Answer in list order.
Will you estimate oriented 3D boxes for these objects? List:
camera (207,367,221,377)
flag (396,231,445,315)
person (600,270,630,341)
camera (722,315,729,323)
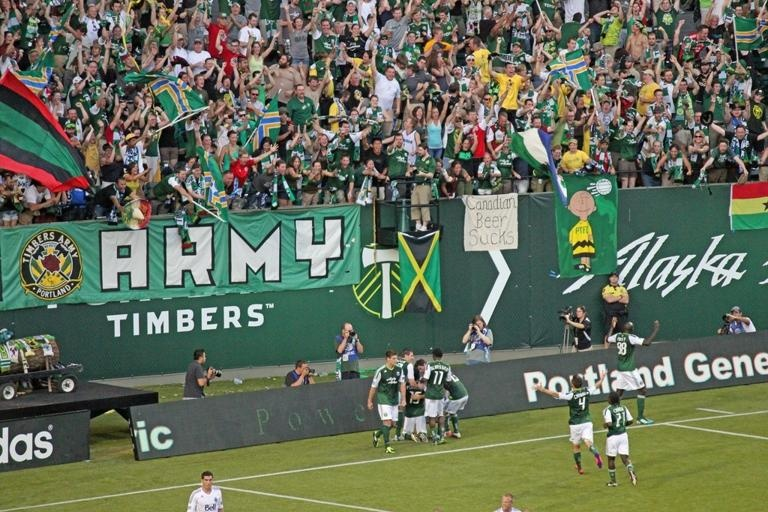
[{"bbox_3d":[-5.763,3.860,55.850,0.419,0.256,0.338,2,3,31],"label":"camera"},{"bbox_3d":[1.354,0.520,62.447,1.507,2.819,0.476,-6,2,2],"label":"flag"},{"bbox_3d":[8.876,1.890,64.128,0.724,2.609,0.760,2,0,3],"label":"person"},{"bbox_3d":[12.815,2.312,62.834,0.187,0.218,0.352,-38,-20,-7],"label":"camera"}]
